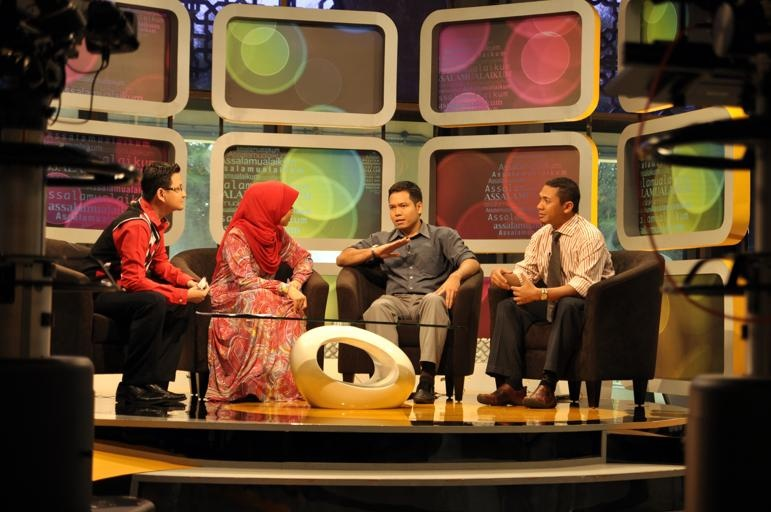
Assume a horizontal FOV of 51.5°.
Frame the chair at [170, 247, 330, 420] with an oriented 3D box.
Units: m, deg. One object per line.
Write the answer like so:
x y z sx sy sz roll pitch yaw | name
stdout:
-0.814 0.389 4.554 0.941 1.024 0.855 1 -3 -26 | chair

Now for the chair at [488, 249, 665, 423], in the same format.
1.219 0.459 4.687 0.729 0.802 0.769 4 -10 -28 | chair

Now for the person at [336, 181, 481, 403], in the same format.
0.143 0.181 4.770 0.752 1.352 0.728 -5 -12 14 | person

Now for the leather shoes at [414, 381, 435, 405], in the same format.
0.211 0.743 4.346 0.125 0.124 0.316 -2 -10 9 | leather shoes

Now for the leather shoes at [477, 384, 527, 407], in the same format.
0.653 0.773 4.441 0.301 0.128 0.109 2 -6 -16 | leather shoes

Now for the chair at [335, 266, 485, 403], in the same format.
0.121 0.439 4.745 0.842 0.794 0.694 2 -9 4 | chair

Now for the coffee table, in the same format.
-0.271 0.538 4.147 1.110 0.494 0.511 2 -9 3 | coffee table

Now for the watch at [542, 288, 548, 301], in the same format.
0.876 0.208 4.418 0.036 0.055 0.056 -1 26 4 | watch

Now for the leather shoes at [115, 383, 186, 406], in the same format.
-1.197 0.710 4.064 0.315 0.118 0.135 3 0 -14 | leather shoes

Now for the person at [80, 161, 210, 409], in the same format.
-1.243 0.105 4.249 0.620 1.338 0.576 7 -10 -21 | person

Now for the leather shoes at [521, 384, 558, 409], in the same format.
0.826 0.749 4.245 0.097 0.086 0.196 -5 -12 28 | leather shoes
